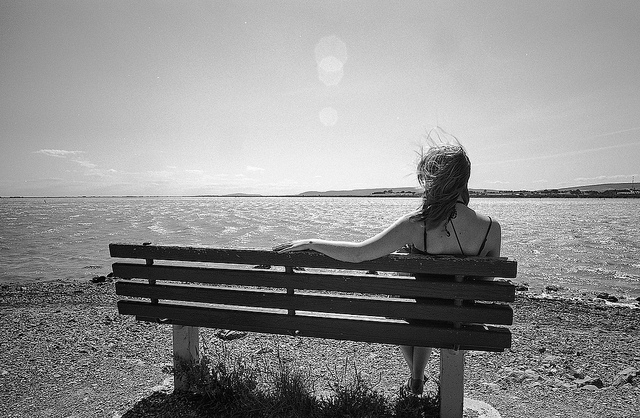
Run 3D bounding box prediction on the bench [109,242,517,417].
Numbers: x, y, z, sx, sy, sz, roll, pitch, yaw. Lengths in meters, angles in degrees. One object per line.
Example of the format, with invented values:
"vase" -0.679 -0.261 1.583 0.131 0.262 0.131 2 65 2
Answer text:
"bench" 0.002 1.829 7.054 5.590 2.579 0.460 0 0 7
